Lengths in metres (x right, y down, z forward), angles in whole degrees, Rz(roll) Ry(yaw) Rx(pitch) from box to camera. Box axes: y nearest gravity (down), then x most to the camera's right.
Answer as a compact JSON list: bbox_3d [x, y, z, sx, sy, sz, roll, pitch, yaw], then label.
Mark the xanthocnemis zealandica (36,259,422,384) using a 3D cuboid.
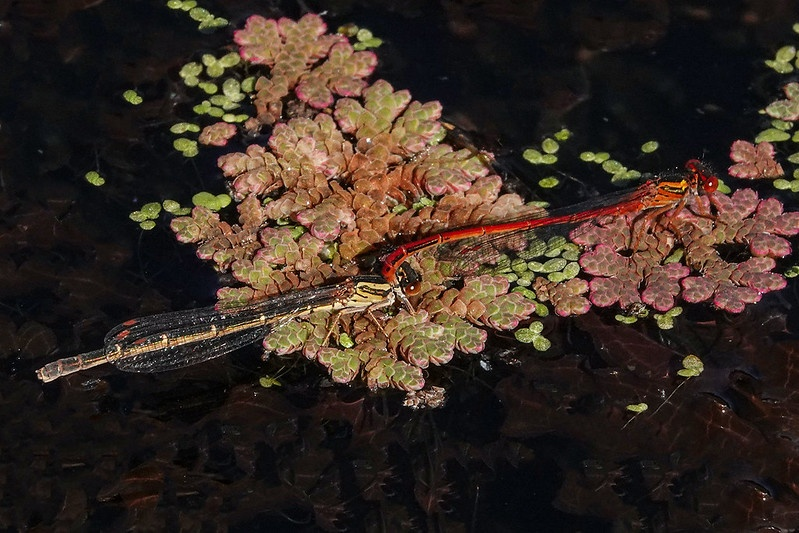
[{"bbox_3d":[-1.136,0.417,6.380,2.061,0.432,0.404,-9,-55,-2],"label":"xanthocnemis zealandica"}]
